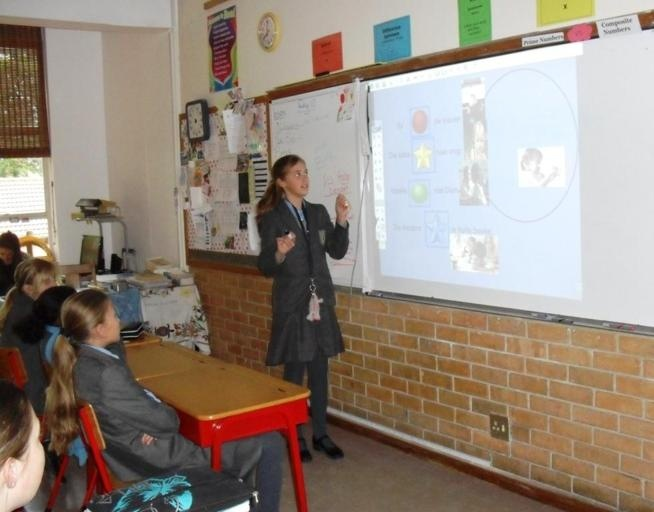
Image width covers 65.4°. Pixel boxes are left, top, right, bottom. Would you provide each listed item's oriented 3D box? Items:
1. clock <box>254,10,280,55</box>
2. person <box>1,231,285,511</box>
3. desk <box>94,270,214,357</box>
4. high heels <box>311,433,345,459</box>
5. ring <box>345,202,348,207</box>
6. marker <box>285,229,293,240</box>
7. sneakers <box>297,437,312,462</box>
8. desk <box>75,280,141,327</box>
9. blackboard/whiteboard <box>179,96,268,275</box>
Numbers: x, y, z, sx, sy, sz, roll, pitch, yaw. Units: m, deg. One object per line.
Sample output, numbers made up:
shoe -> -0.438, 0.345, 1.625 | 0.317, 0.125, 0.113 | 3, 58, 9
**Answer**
clock -> -0.456, -1.745, 3.972 | 0.040, 0.324, 0.299 | -14, 27, -35
person -> -0.957, 0.629, 2.295 | 1.478, 0.965, 0.590 | 1, 8, 29
desk -> -1.706, 0.596, 4.801 | 0.921, 0.643, 0.951 | 2, -14, 9
high heels -> 0.009, 1.232, 3.357 | 0.092, 0.114, 0.233 | -3, 4, -40
ring -> 0.122, -0.316, 3.141 | 0.017, 0.007, 0.026 | -5, 49, 7
marker -> -0.213, -0.125, 3.020 | 0.051, 0.015, 0.055 | 19, 28, -44
sneakers -> -0.152, 1.225, 3.247 | 0.066, 0.092, 0.208 | -1, 1, -20
desk -> -1.909, 0.438, 4.416 | 0.603, 0.444, 0.334 | 2, -11, -42
blackboard/whiteboard -> -0.889, -0.695, 4.568 | 0.058, 1.364, 1.272 | 14, 22, 28
